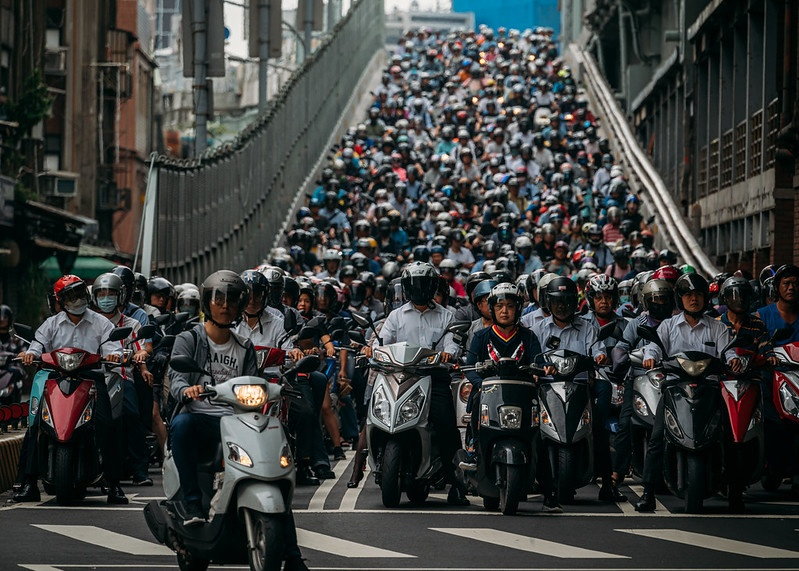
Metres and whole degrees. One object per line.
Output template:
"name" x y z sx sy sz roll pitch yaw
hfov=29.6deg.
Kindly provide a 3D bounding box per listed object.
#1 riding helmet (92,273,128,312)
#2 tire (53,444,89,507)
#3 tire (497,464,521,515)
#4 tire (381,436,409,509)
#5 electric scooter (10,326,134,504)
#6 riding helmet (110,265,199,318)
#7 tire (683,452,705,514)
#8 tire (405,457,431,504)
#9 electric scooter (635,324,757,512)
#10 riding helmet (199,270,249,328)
"riding helmet" -3.345 0.077 17.345 0.329 0.436 0.437 -2 -2 -3
"tire" -3.585 2.039 16.349 0.297 0.598 0.689 0 -12 1
"tire" 1.138 2.118 15.838 0.231 0.492 0.526 0 -12 3
"tire" -0.098 1.988 16.179 0.218 0.706 0.380 1 -11 -3
"electric scooter" -3.531 1.475 16.360 1.121 1.705 1.190 0 -12 -1
"riding helmet" -3.021 0.103 19.941 0.559 0.673 0.748 0 -12 -17
"tire" 3.052 2.037 15.703 0.200 0.556 0.480 -2 -12 11
"tire" 0.193 2.200 16.391 0.213 0.267 0.411 0 -9 6
"electric scooter" 3.083 1.287 15.896 1.120 2.104 0.859 -2 -12 13
"riding helmet" -1.606 0.109 13.752 0.412 0.544 0.434 2 -12 -10
